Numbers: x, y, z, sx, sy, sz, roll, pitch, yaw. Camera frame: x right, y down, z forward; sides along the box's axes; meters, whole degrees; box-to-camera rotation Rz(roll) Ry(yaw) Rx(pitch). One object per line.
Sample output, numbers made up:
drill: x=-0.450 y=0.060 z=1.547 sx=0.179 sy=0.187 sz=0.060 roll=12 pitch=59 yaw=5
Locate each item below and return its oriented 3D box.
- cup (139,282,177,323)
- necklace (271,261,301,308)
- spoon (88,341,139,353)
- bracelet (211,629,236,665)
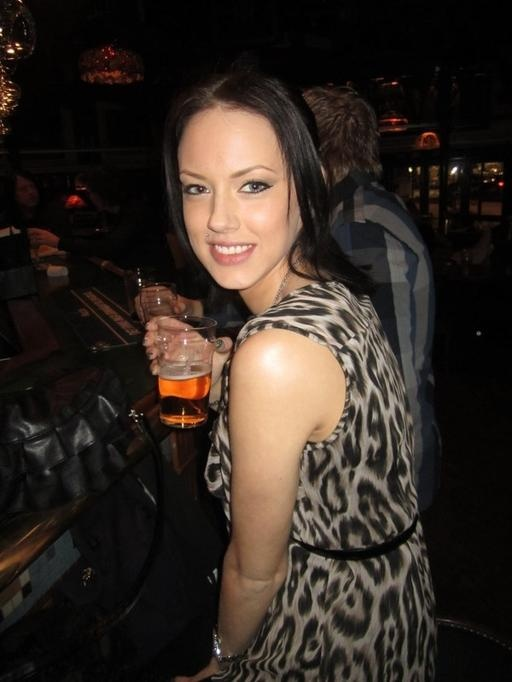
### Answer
cup: x=-0.400 y=-0.160 z=2.106 sx=0.159 sy=0.171 sz=0.160 roll=-2 pitch=5 yaw=0
necklace: x=0.051 y=-0.122 z=1.126 sx=0.025 sy=0.104 sz=0.057 roll=28 pitch=21 yaw=25
spoon: x=-0.518 y=0.023 z=1.888 sx=0.175 sy=0.014 sz=0.110 roll=-5 pitch=20 yaw=-22
bracelet: x=-0.067 y=0.640 z=1.055 sx=0.060 sy=0.076 sz=0.032 roll=2 pitch=-13 yaw=9
